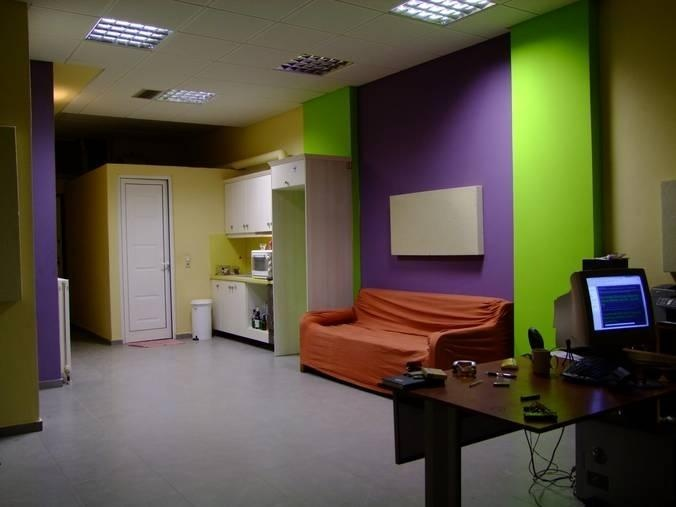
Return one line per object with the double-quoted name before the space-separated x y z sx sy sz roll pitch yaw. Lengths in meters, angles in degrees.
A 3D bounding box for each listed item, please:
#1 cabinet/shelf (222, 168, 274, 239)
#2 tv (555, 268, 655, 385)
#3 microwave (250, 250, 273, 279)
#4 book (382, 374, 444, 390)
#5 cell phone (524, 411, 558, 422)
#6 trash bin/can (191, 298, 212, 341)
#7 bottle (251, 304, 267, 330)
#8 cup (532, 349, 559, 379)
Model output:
"cabinet/shelf" -1.772 -0.855 9.098 0.446 0.986 1.306 2 8 29
"tv" 1.847 0.472 3.426 0.422 0.674 0.412 -2 -15 6
"microwave" -1.256 0.175 8.231 0.360 0.557 0.601 2 -3 -32
"book" 0.453 0.759 2.987 0.170 0.038 0.167 0 -2 -44
"cell phone" 1.010 0.815 2.514 0.068 0.020 0.075 1 0 -30
"trash bin/can" -2.523 1.213 9.317 0.461 0.721 0.471 -2 1 -25
"bottle" -1.313 1.074 8.336 0.249 0.331 0.511 -2 2 -11
"cup" 1.330 0.704 3.267 0.101 0.158 0.171 -2 2 -33
